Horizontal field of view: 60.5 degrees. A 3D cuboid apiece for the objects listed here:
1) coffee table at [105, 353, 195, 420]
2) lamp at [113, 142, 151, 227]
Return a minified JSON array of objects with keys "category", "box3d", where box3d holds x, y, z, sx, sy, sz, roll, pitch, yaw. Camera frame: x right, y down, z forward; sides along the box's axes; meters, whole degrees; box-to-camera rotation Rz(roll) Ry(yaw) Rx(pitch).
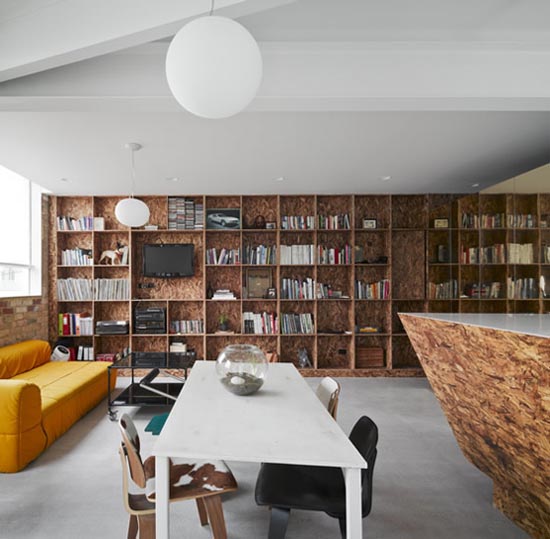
[{"category":"coffee table","box3d":[-1.265,1.119,4.784,0.603,0.387,0.695,1,3,-1]},{"category":"lamp","box3d":[-1.319,-0.757,4.357,0.364,0.761,0.375,0,3,-30]}]
